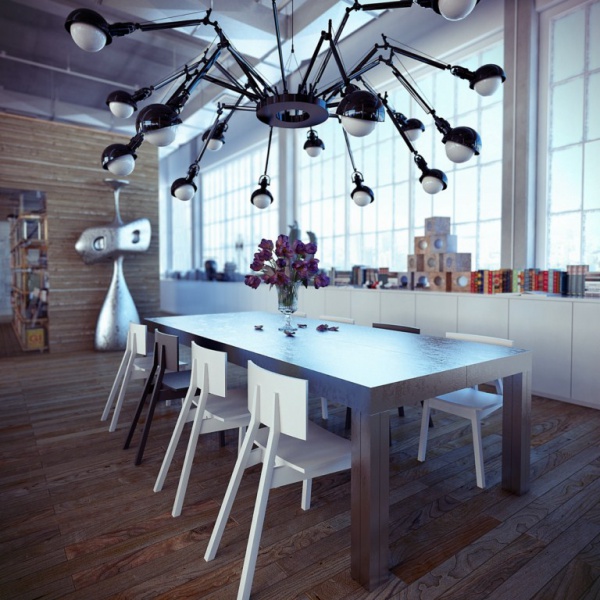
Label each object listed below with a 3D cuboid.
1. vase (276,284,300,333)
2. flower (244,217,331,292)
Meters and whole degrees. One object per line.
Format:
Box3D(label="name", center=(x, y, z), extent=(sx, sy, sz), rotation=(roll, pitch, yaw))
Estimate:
Box3D(label="vase", center=(-0.076, 0.042, 2.996), extent=(0.180, 0.320, 0.171), rotation=(-2, 10, -8))
Box3D(label="flower", center=(-0.118, -0.232, 3.058), extent=(0.530, 0.599, 0.577), rotation=(0, 5, -11))
